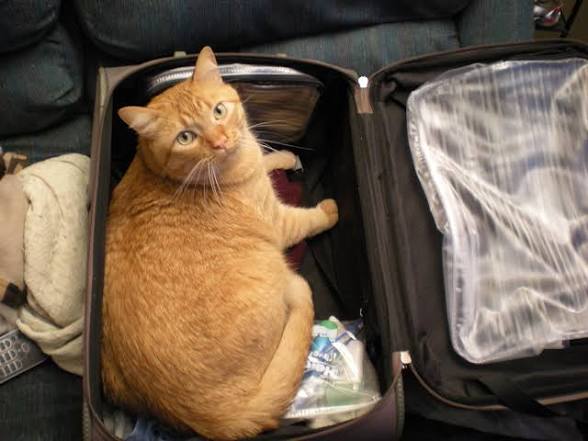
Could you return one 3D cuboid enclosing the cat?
[{"bbox_3d":[-0.284,0.097,1.856,0.752,0.620,1.066,12,65,11],"label":"cat"}]
